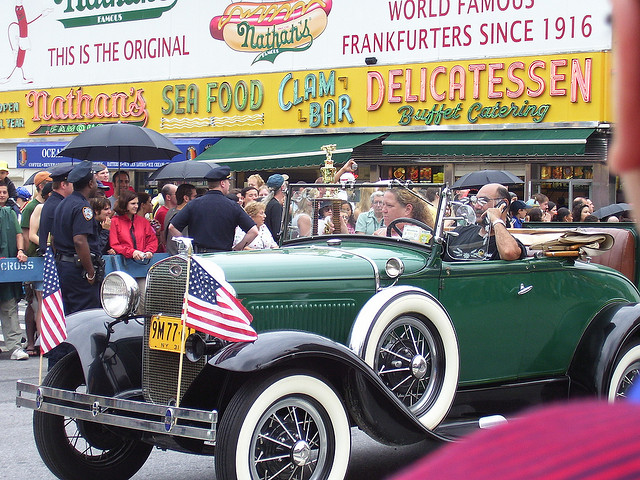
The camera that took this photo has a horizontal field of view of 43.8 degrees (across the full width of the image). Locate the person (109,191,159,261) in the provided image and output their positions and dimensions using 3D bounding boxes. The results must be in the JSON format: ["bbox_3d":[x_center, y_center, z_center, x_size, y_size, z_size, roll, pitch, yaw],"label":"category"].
[{"bbox_3d":[-2.112,-0.161,8.984,0.512,0.755,0.663,1,2,-10],"label":"person"}]

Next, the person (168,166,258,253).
[{"bbox_3d":[-1.123,-0.073,8.497,0.882,1.423,0.462,4,6,3],"label":"person"}]

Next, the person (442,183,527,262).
[{"bbox_3d":[1.157,-0.125,5.728,0.758,0.545,0.466,6,2,45],"label":"person"}]

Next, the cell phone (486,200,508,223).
[{"bbox_3d":[1.263,-0.208,5.723,0.186,0.065,0.043,-41,39,-18],"label":"cell phone"}]

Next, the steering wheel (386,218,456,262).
[{"bbox_3d":[0.681,-0.025,5.478,0.409,0.299,0.252,2,6,45],"label":"steering wheel"}]

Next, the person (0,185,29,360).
[{"bbox_3d":[-3.481,0.357,9.052,0.336,1.950,0.735,1,2,-20],"label":"person"}]

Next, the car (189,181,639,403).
[{"bbox_3d":[0.688,0.334,5.349,2.961,1.443,1.560,0,3,-23],"label":"car"}]

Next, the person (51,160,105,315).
[{"bbox_3d":[-2.217,-0.008,7.294,0.451,1.430,0.470,1,2,-19],"label":"person"}]
